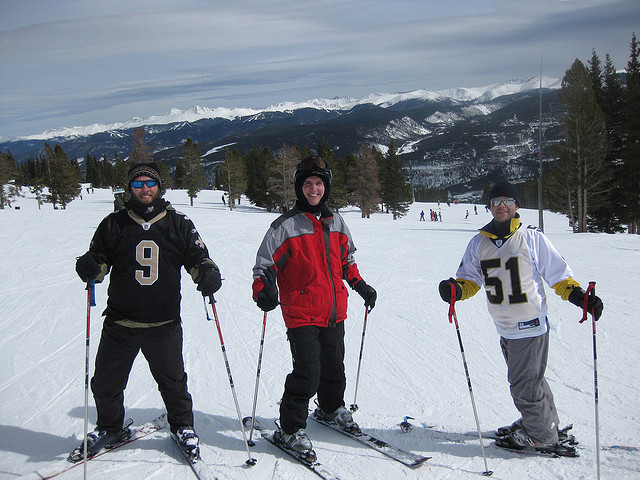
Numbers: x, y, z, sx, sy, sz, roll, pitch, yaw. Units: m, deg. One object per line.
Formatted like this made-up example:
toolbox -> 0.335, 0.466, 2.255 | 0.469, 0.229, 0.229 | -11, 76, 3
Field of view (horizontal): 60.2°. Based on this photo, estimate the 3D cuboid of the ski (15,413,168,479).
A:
ski -> -2.868, 2.636, 7.001 | 1.556, 0.108, 0.172 | -26, 48, -27

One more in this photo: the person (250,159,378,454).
person -> -0.104, 0.782, 7.139 | 1.439, 3.628, 0.642 | -7, 8, -33

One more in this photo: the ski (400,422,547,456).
ski -> 2.004, 2.588, 7.174 | 1.343, 0.170, 0.215 | 10, -20, 25

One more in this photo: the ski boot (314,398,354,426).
ski boot -> 0.176, 2.349, 7.518 | 0.562, 0.265, 0.210 | 9, 11, 22

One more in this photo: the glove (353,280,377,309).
glove -> 0.636, 0.683, 7.451 | 0.392, 0.233, 0.156 | 42, 20, 2

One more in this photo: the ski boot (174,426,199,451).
ski boot -> -1.642, 2.485, 6.969 | 0.190, 0.172, 0.313 | -6, -1, -31

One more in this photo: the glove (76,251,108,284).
glove -> -2.781, 0.316, 6.747 | 0.279, 0.419, 0.152 | 5, -8, -15

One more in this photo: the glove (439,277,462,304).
glove -> 1.677, 0.622, 7.167 | 0.329, 0.359, 0.248 | -10, 11, -27
